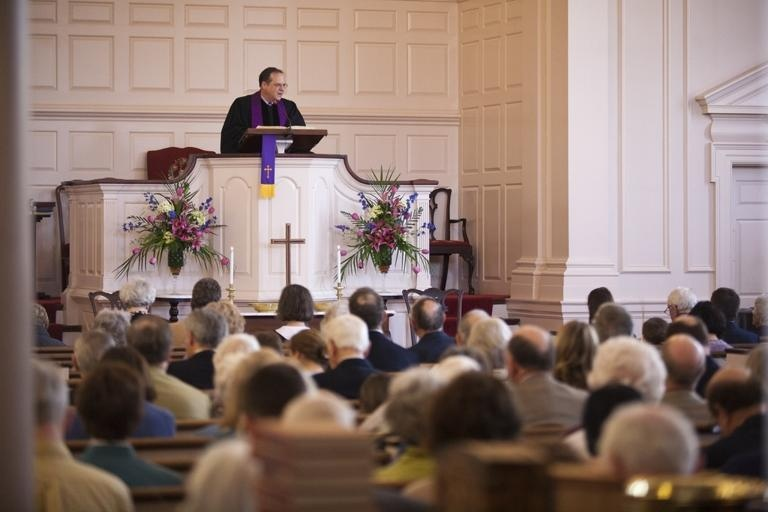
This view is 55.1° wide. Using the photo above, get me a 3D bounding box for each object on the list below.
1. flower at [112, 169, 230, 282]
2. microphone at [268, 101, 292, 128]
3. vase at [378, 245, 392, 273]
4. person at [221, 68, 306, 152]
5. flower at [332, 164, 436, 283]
[{"bbox_3d":[-2.259,-0.410,7.887,0.998,1.043,1.059,-3,-12,-16],"label":"flower"},{"bbox_3d":[-1.182,-1.578,8.230,0.219,0.455,0.102,-1,-14,2],"label":"microphone"},{"bbox_3d":[-0.004,0.025,7.781,0.134,0.279,0.125,1,-1,-2],"label":"vase"},{"bbox_3d":[-1.292,-1.528,8.010,0.881,0.924,0.941,2,-1,-20],"label":"person"},{"bbox_3d":[0.023,-0.263,8.126,0.967,1.116,1.036,3,-15,3],"label":"flower"}]
